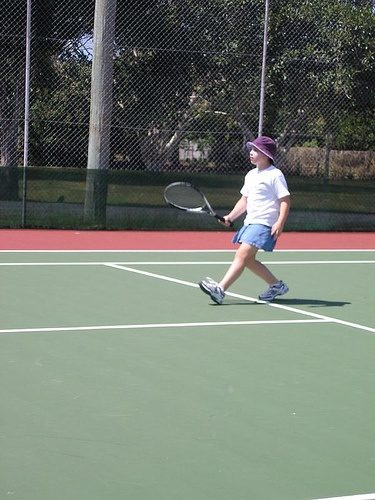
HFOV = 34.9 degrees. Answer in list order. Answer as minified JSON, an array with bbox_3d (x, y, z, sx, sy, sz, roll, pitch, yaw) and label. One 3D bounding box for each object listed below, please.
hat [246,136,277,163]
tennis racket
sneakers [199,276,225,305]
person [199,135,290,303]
[{"bbox_3d":[0.722,-0.984,5.794,0.259,0.251,0.419,3,6,4],"label":"hat"},{"bbox_3d":[0.102,-0.543,6.784,0.973,0.385,0.073,33,-11,44],"label":"tennis racket"},{"bbox_3d":[0.235,0.392,5.725,0.236,0.251,0.259,4,6,11],"label":"sneakers"},{"bbox_3d":[0.630,-0.297,5.829,0.773,1.635,0.705,4,6,8],"label":"person"}]
